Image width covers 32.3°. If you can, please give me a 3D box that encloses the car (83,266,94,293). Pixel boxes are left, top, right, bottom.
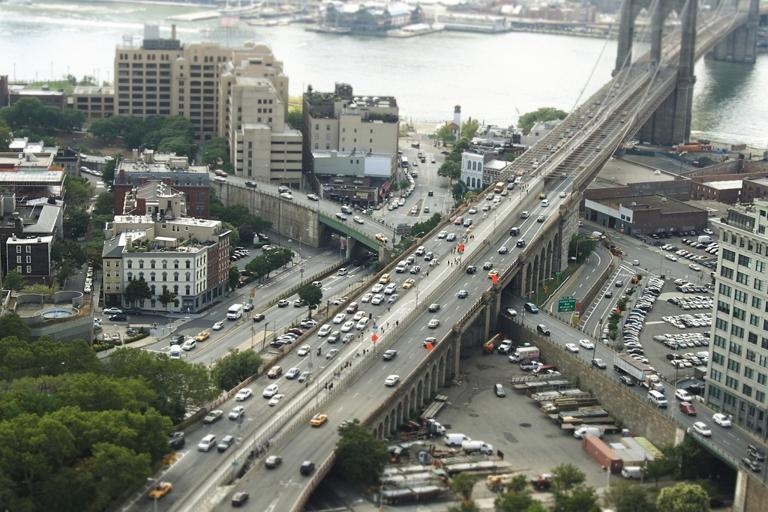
[{"bbox_3d":[-53.981,4.724,240.889,1.214,1.247,5.423,1,46,-6],"label":"car"}]

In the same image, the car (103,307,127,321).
[{"bbox_3d":[-47.243,10.583,232.223,3.475,1.652,2.211,3,24,-9],"label":"car"}]

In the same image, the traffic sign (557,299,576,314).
[{"bbox_3d":[31.774,8.952,231.163,2.421,1.795,0.326,-3,15,-9],"label":"traffic sign"}]

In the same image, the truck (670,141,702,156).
[{"bbox_3d":[75.877,-26.289,333.032,9.829,2.972,2.692,-9,28,-3],"label":"truck"}]
